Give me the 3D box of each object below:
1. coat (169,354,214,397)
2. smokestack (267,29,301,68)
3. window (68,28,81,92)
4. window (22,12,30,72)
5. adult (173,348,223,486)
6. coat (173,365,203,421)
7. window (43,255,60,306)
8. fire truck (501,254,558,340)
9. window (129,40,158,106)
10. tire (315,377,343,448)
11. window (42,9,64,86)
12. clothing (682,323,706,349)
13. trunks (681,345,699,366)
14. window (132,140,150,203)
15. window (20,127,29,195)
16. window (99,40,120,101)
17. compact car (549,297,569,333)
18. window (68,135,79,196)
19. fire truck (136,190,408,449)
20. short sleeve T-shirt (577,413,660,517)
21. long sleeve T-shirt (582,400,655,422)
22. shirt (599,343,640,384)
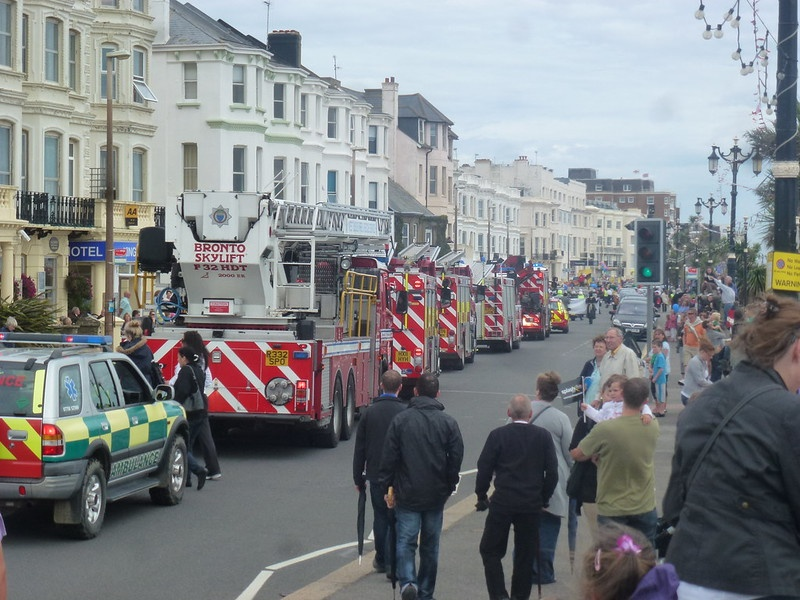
[{"bbox_3d":[-3.215,1.207,22.799,0.647,0.705,0.478,-1,5,-2],"label":"coat"},{"bbox_3d":[-4.719,-9.768,59.859,1.430,2.048,1.132,-2,-18,-11],"label":"smokestack"},{"bbox_3d":[-9.935,-7.314,45.332,0.393,1.797,0.281,1,8,-28],"label":"window"},{"bbox_3d":[-10.674,-7.212,42.480,0.149,1.948,0.436,2,7,-9],"label":"window"},{"bbox_3d":[-3.062,1.667,21.454,0.696,2.094,0.713,0,8,26],"label":"adult"},{"bbox_3d":[-2.976,1.292,21.410,0.441,0.741,0.511,-2,9,29],"label":"coat"},{"bbox_3d":[-10.536,-0.625,44.999,0.427,1.362,0.857,6,7,12],"label":"window"},{"bbox_3d":[5.170,-0.393,58.142,1.566,2.585,4.760,-7,12,13],"label":"fire truck"},{"bbox_3d":[-8.548,-7.449,49.180,0.657,1.879,1.189,4,7,-7],"label":"window"},{"bbox_3d":[-1.175,1.799,24.082,0.298,1.045,0.825,2,25,9],"label":"tire"},{"bbox_3d":[-10.215,-7.368,43.728,0.190,1.882,0.821,7,7,16],"label":"window"},{"bbox_3d":[6.035,0.736,30.456,0.440,0.535,0.290,-2,-30,20],"label":"clothing"},{"bbox_3d":[5.835,1.109,29.922,0.340,0.489,0.248,28,49,36],"label":"trunks"},{"bbox_3d":[-8.809,-4.248,49.858,0.697,1.932,0.188,2,4,1],"label":"window"},{"bbox_3d":[-10.893,-3.963,42.823,0.118,1.746,0.338,0,2,32],"label":"window"},{"bbox_3d":[-9.358,-7.321,48.473,0.588,1.568,0.154,3,1,30],"label":"window"},{"bbox_3d":[6.667,0.664,62.081,0.701,0.709,1.530,0,5,14],"label":"compact car"},{"bbox_3d":[-10.041,-4.074,45.499,0.268,1.714,0.923,5,7,1],"label":"window"},{"bbox_3d":[-2.107,-0.018,26.130,2.190,3.243,6.075,0,1,11],"label":"fire truck"},{"bbox_3d":[2.336,1.793,16.022,0.989,1.091,0.607,-4,10,-9],"label":"short sleeve T-shirt"},{"bbox_3d":[2.425,1.261,16.735,0.700,0.265,0.840,6,-8,2],"label":"long sleeve T-shirt"},{"bbox_3d":[2.785,0.825,19.035,0.375,0.380,0.203,-11,-24,31],"label":"shirt"}]
